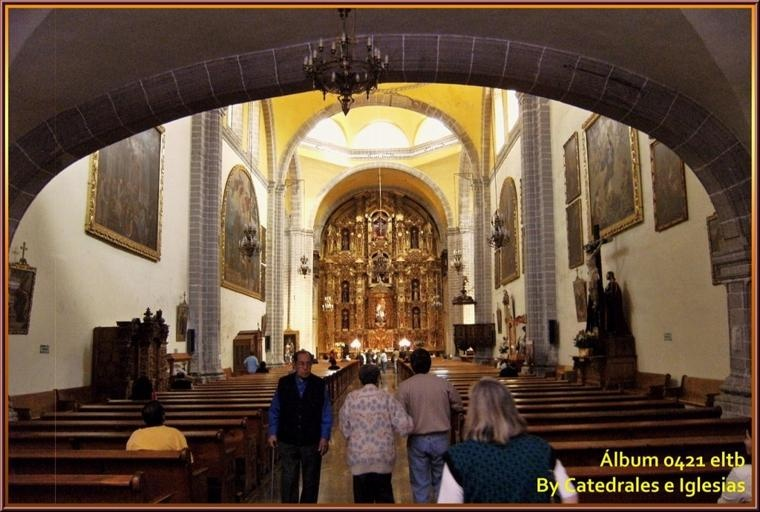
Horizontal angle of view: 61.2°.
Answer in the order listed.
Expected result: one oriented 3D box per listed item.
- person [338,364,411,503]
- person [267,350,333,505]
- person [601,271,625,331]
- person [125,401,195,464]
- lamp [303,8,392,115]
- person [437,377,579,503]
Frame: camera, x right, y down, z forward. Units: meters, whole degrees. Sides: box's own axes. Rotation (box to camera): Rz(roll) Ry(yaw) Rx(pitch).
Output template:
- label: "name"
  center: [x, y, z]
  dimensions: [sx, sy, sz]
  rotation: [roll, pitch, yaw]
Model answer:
- label: "person"
  center: [-0.040, 1.946, 7.172]
  dimensions: [0.777, 1.502, 0.309]
  rotation: [-2, -12, -3]
- label: "person"
  center: [-0.926, 1.968, 7.484]
  dimensions: [0.713, 1.726, 0.389]
  rotation: [-6, -12, 16]
- label: "person"
  center: [4.642, 0.927, 12.681]
  dimensions: [0.529, 1.200, 0.264]
  rotation: [5, -14, -32]
- label: "person"
  center: [-2.496, 1.991, 7.209]
  dimensions: [0.751, 0.722, 0.430]
  rotation: [-2, 1, 6]
- label: "lamp"
  center: [-0.525, -3.032, 10.232]
  dimensions: [1.470, 2.188, 1.499]
  rotation: [0, -7, -5]
- label: "person"
  center: [0.952, 1.438, 5.021]
  dimensions: [1.011, 0.952, 0.244]
  rotation: [0, -12, -11]
